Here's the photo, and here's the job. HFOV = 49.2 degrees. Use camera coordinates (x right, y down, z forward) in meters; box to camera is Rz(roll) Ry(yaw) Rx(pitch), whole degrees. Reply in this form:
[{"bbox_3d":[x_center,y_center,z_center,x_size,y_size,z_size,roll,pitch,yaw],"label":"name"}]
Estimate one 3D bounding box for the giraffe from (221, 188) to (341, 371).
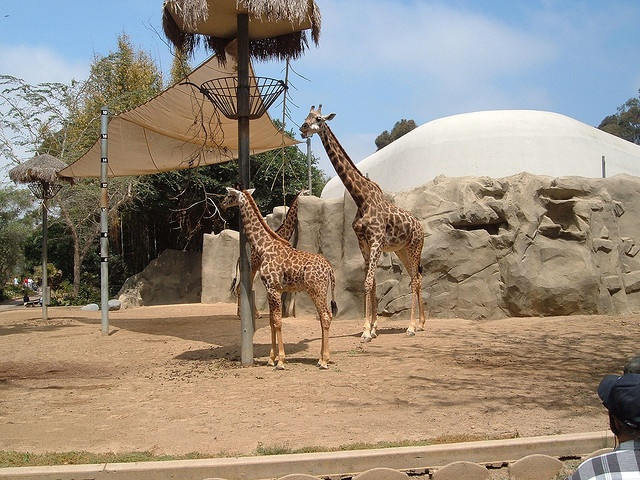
[{"bbox_3d":[-0.663,0.635,12.215,1.865,3.179,1.355,-1,-7,1],"label":"giraffe"}]
